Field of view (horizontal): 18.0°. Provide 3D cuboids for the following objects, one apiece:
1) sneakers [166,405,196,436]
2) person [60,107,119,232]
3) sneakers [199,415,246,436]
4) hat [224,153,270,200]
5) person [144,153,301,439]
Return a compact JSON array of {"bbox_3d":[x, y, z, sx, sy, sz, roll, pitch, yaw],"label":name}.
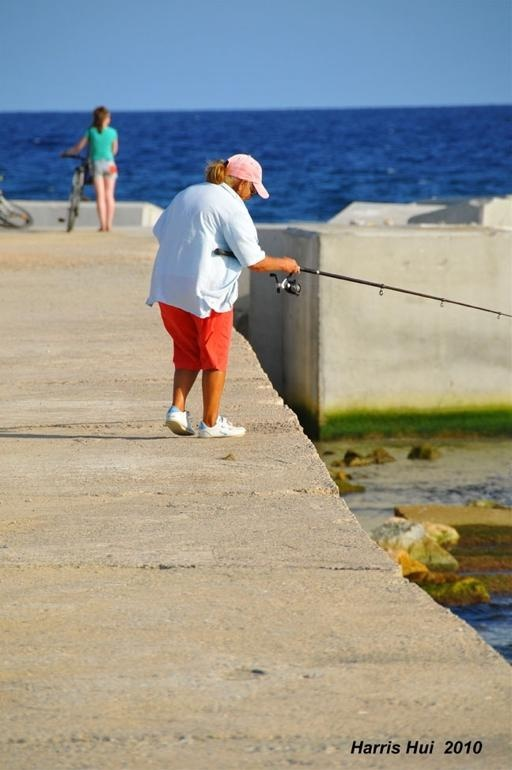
[{"bbox_3d":[-0.258,0.123,5.750,0.052,0.065,0.149,5,-20,24],"label":"sneakers"},{"bbox_3d":[-1.237,-1.663,12.538,0.353,0.952,0.776,6,7,-1],"label":"person"},{"bbox_3d":[-0.116,0.142,5.809,0.167,0.074,0.065,0,6,-7],"label":"sneakers"},{"bbox_3d":[-0.029,-0.727,5.615,0.141,0.135,0.281,6,8,-3],"label":"hat"},{"bbox_3d":[-0.134,-0.301,5.661,0.462,1.013,0.334,5,7,-4],"label":"person"}]
